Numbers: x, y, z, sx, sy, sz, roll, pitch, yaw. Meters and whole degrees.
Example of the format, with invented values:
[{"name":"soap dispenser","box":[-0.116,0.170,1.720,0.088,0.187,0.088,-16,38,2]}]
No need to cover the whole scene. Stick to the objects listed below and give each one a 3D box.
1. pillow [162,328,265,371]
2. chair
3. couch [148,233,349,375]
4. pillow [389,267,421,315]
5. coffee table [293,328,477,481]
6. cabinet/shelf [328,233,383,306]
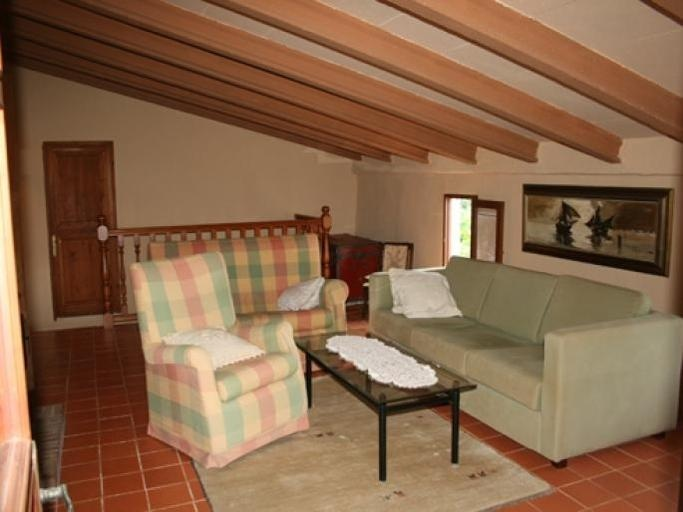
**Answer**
[{"name":"pillow","box":[-0.926,0.633,3.544,0.674,0.188,0.379,2,11,14]},{"name":"chair","box":[-0.866,0.662,3.699,0.976,1.148,1.102,-9,16,-40]},{"name":"couch","box":[-0.854,0.396,4.811,1.743,1.096,0.961,-5,10,-34]},{"name":"pillow","box":[0.562,0.331,4.853,0.392,0.365,0.112,-7,2,-37]},{"name":"coffee table","box":[0.372,0.639,3.291,0.735,0.467,1.364,-4,10,-27]},{"name":"cabinet/shelf","box":[0.083,0.127,7.705,0.769,0.927,0.995,-5,22,-18]}]
